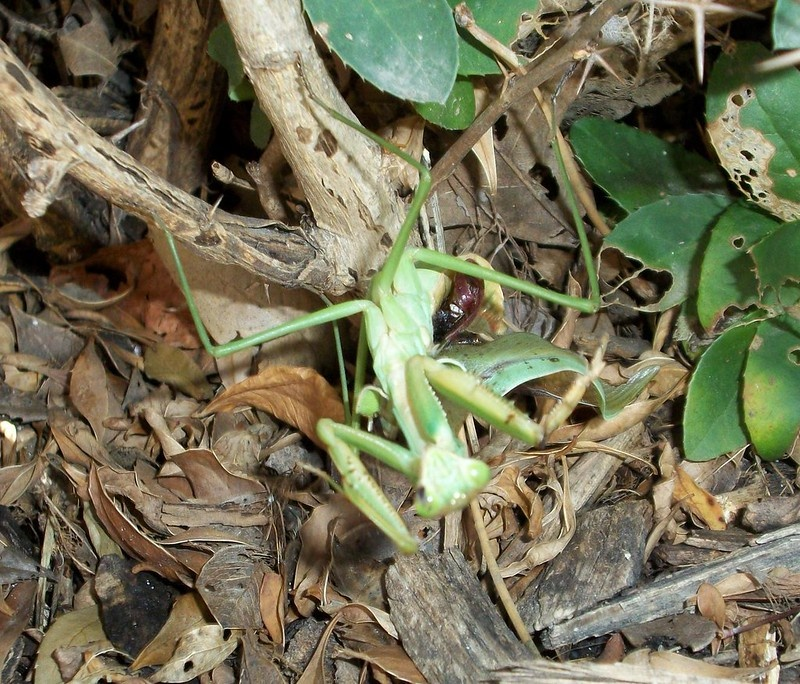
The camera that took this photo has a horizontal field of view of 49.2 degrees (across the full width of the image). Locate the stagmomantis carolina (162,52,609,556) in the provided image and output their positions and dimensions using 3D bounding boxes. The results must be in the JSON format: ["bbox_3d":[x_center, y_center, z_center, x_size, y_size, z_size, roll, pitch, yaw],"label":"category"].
[{"bbox_3d":[-0.029,-0.046,1.333,0.555,0.243,0.637,-18,83,-9],"label":"stagmomantis carolina"}]
